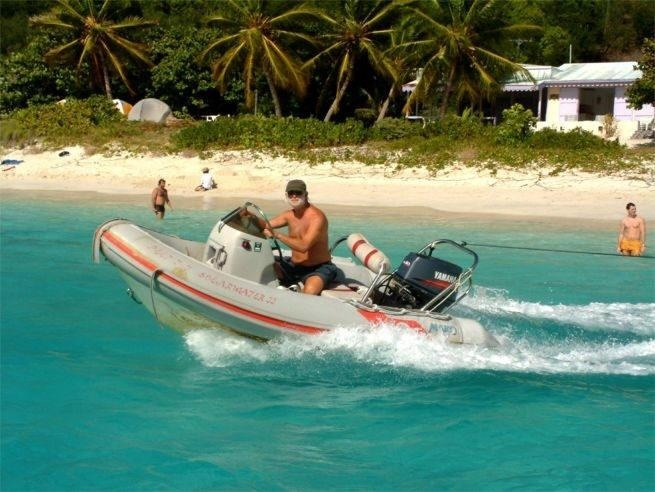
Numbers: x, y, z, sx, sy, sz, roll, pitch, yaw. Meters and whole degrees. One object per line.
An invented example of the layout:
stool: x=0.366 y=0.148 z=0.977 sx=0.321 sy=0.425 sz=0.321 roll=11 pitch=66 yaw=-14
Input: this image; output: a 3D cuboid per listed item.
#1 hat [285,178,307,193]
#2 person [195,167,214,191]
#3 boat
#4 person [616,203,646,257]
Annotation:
hat: x=-0.377 y=-0.711 z=7.323 sx=0.225 sy=0.180 sz=0.290 roll=2 pitch=4 yaw=-3
person: x=-4.232 y=-2.255 z=20.835 sx=0.667 sy=0.837 sz=1.090 roll=3 pitch=5 yaw=4
boat: x=-0.516 y=0.505 z=7.921 sx=5.331 sy=1.169 sz=1.981 roll=2 pitch=0 yaw=-4
person: x=5.733 y=-0.281 z=11.369 sx=0.451 sy=1.028 sz=1.841 roll=7 pitch=6 yaw=25
